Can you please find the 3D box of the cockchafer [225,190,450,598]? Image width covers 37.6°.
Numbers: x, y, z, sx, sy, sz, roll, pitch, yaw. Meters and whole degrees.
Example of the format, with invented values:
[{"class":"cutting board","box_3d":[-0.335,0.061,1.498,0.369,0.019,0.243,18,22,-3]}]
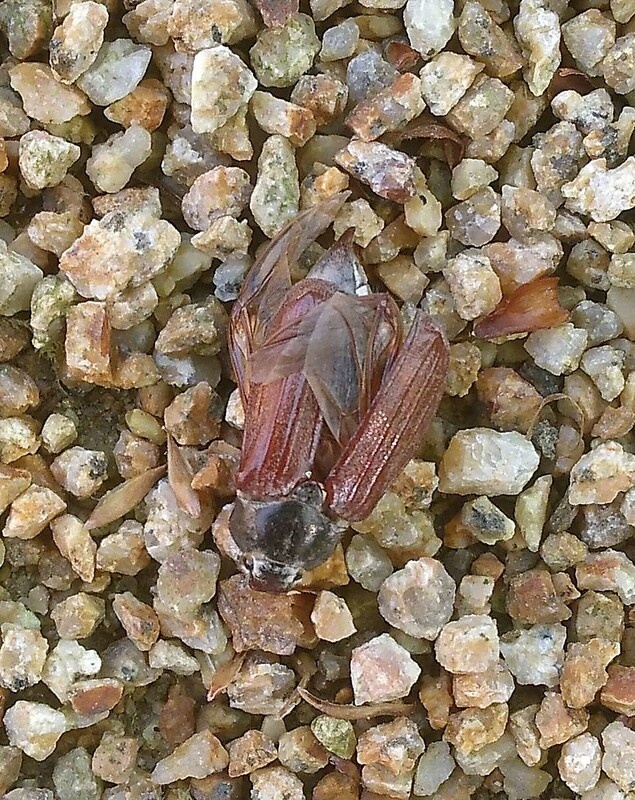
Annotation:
[{"class":"cockchafer","box_3d":[-0.012,-0.014,1.128,0.252,0.138,0.415,24,84,-24]}]
